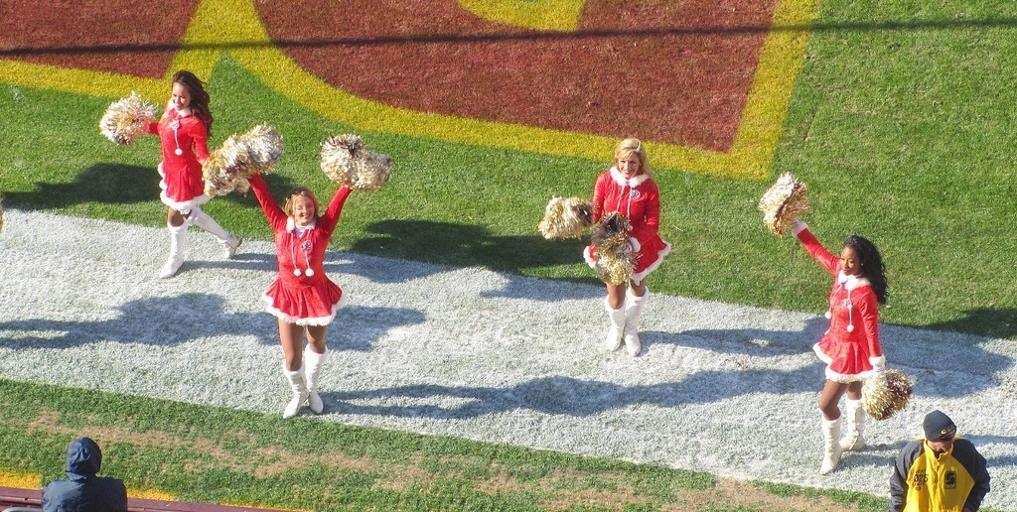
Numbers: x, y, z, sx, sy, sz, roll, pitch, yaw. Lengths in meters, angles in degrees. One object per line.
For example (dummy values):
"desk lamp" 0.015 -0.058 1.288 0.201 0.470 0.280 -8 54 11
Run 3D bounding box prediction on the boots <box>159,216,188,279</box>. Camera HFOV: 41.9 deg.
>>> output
"boots" -5.373 -0.084 21.561 0.366 0.774 0.780 25 50 0

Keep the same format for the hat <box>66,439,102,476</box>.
"hat" -5.811 2.772 18.433 0.477 0.457 0.518 5 38 -16

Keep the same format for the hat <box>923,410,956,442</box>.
"hat" 5.972 2.384 18.628 0.433 0.385 0.414 -13 19 -3

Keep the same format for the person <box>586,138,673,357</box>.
"person" 1.849 -0.078 20.444 1.229 3.427 0.650 4 13 -9
